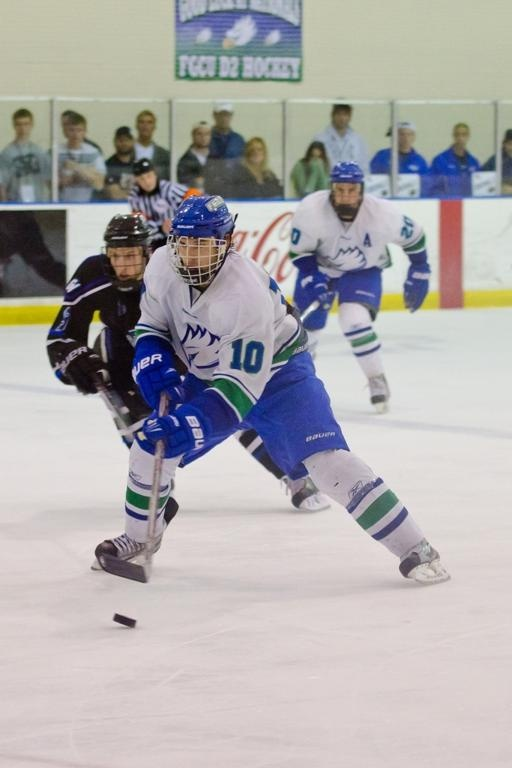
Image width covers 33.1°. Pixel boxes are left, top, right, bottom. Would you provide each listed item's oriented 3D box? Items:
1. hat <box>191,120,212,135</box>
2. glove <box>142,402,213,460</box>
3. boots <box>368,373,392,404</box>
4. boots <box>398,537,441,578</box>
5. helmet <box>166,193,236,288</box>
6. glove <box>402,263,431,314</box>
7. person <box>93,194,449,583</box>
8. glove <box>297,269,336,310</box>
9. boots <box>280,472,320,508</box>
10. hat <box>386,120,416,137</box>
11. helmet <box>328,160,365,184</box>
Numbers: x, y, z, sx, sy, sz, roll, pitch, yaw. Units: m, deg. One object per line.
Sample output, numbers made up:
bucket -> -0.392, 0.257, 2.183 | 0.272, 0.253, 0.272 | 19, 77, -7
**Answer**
hat -> -0.500, -2.325, 7.784 | 0.126, 0.115, 0.154 | -2, 9, 0
glove -> -0.158, 0.113, 1.922 | 0.161, 0.065, 0.117 | -17, 30, -31
boots -> 0.653, 0.022, 4.563 | 0.071, 0.194, 0.083 | -23, -39, 25
boots -> 0.391, 0.420, 2.080 | 0.117, 0.070, 0.064 | -31, -5, -17
helmet -> -0.129, -0.329, 1.975 | 0.146, 0.217, 0.178 | 3, 10, -1
glove -> 0.892, -0.539, 4.795 | 0.158, 0.245, 0.099 | 17, 20, 34
person -> 0.008, 0.020, 2.096 | 0.746, 0.930, 0.412 | 0, 11, -15
glove -> 0.330, -0.512, 4.635 | 0.203, 0.168, 0.070 | 4, -2, 38
boots -> 0.134, 0.353, 2.932 | 0.073, 0.081, 0.190 | -41, 19, 0
hat -> 1.392, -2.417, 8.095 | 0.166, 0.066, 0.199 | -3, 7, -10
helmet -> 0.459, -1.065, 4.318 | 0.152, 0.118, 0.188 | 4, 9, 7
